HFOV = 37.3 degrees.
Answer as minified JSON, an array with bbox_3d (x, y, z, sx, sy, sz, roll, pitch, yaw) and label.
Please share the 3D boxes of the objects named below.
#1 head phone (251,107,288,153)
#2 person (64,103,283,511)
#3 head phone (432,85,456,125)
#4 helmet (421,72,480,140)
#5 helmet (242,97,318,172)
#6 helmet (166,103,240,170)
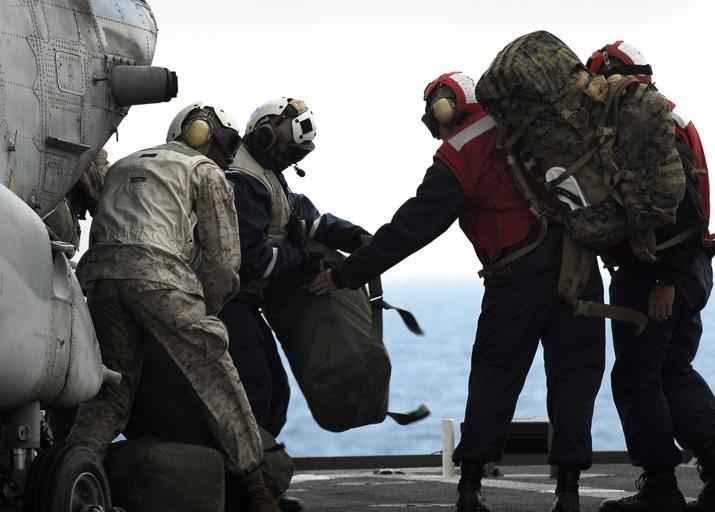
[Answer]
[{"bbox_3d":[-0.515,-0.706,6.246,0.203,0.247,0.236,8,-9,-15],"label":"head phone"},{"bbox_3d":[-0.912,0.332,5.349,0.977,1.833,0.340,5,-10,-17],"label":"person"},{"bbox_3d":[0.494,-0.865,6.192,0.144,0.203,0.145,-11,34,-13],"label":"head phone"},{"bbox_3d":[0.565,-0.891,6.319,0.387,0.393,0.324,-9,0,37],"label":"helmet"},{"bbox_3d":[-0.474,-0.735,6.395,0.470,0.485,0.391,16,16,23],"label":"helmet"},{"bbox_3d":[-0.861,-0.659,5.988,0.373,0.360,0.395,-5,-7,29],"label":"helmet"}]
